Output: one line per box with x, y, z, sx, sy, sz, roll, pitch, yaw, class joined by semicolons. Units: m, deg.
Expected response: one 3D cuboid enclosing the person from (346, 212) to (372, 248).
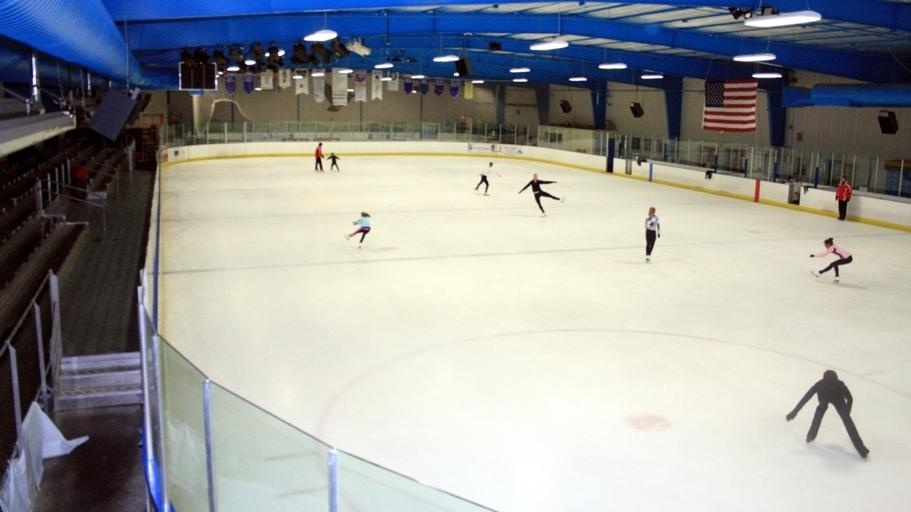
-3.103;-1.015;20.456;0.401;1.222;3.398;-4;11;-14;person

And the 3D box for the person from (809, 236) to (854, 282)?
10.688;0.035;17.742;0.824;1.235;1.338;5;13;26;person

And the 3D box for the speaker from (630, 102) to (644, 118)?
12.149;-9.853;41.682;1.156;1.071;0.621;-26;20;-38;speaker

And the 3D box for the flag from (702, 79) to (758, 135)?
13.652;-7.518;30.988;0.165;3.149;3.512;-1;9;-43;flag

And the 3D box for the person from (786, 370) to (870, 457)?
6.502;2.849;10.943;0.683;1.080;1.071;-25;32;-21;person

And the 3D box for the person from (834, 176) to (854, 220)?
15.264;-2.272;24.607;0.567;1.757;1.265;6;13;31;person

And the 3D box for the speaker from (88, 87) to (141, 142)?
-8.420;-3.533;15.506;0.958;1.270;1.046;-5;12;-20;speaker

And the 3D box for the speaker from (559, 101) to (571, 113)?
8.794;-11.887;49.247;0.287;0.957;1.062;-6;0;20;speaker
